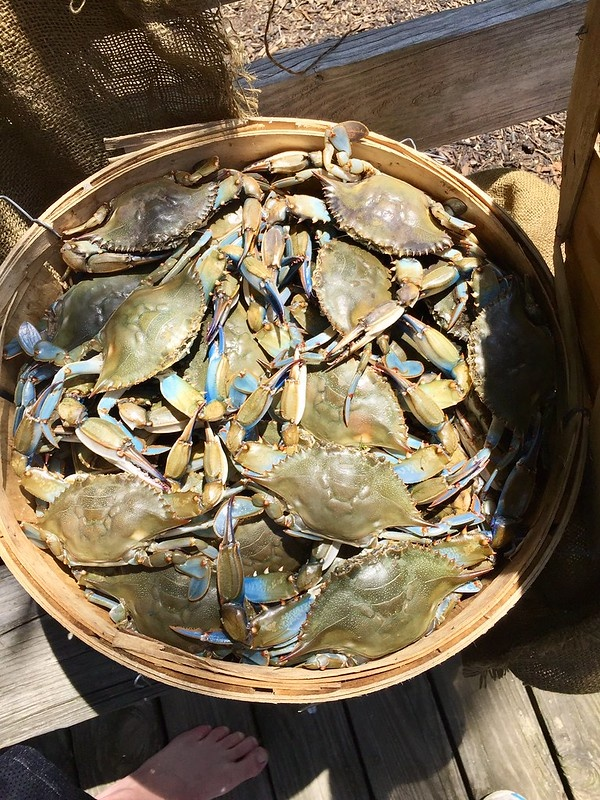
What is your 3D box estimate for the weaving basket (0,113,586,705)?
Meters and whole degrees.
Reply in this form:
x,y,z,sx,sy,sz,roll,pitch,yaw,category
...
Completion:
x,y,z,sx,sy,sz,roll,pitch,yaw,category
-0.039,-0.011,2.524,1.856,0.574,1.818,-13,74,2,weaving basket
